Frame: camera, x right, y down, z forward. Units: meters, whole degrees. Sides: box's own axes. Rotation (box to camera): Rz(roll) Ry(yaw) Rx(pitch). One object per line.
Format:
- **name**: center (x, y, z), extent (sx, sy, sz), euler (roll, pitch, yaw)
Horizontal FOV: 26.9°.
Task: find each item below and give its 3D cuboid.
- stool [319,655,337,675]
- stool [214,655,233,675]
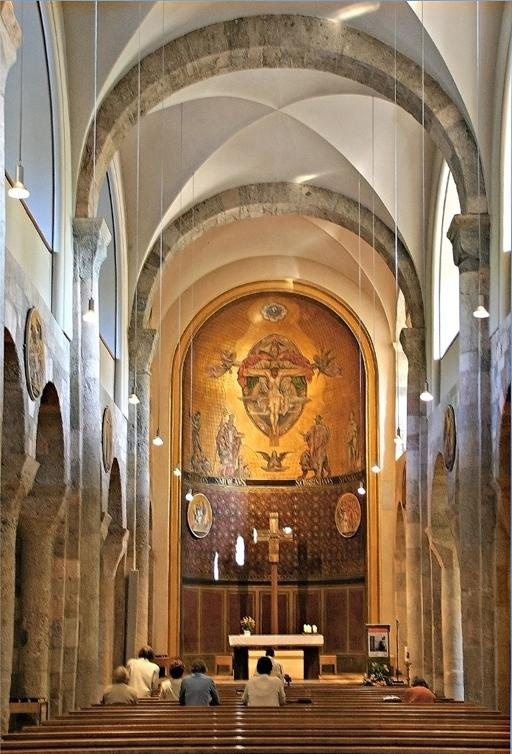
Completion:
- **stool**: center (1.468, 5.945, 22.158), extent (0.341, 0.572, 0.468), euler (0, -16, -2)
- **stool**: center (-0.695, 5.919, 21.944), extent (0.296, 0.652, 0.394), euler (1, -11, -7)
